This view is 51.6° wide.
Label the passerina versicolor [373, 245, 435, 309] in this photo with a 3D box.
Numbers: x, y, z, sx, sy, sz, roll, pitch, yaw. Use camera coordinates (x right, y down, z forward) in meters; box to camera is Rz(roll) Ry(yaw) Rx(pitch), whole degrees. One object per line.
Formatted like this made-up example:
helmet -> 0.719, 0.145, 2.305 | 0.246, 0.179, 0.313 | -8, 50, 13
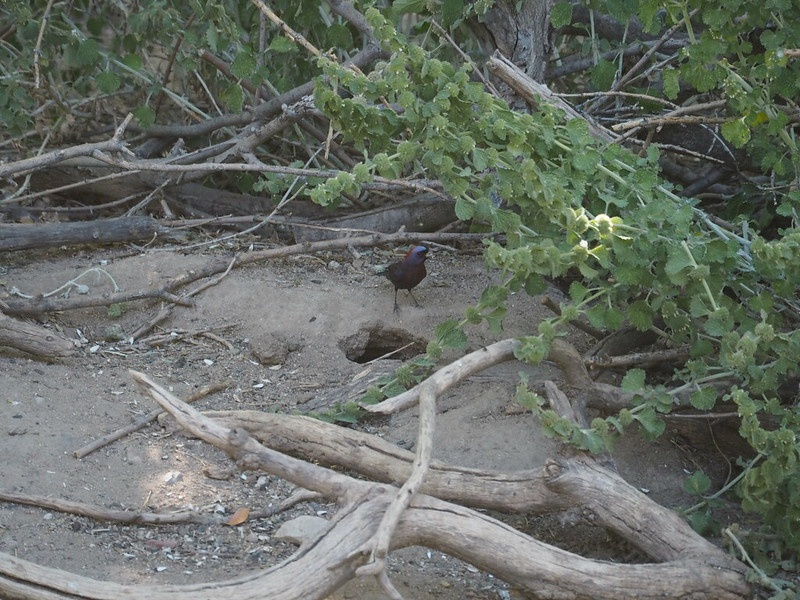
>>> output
passerina versicolor -> 0.006, -0.213, 6.822 | 0.609, 0.584, 0.223 | 21, 29, 40
